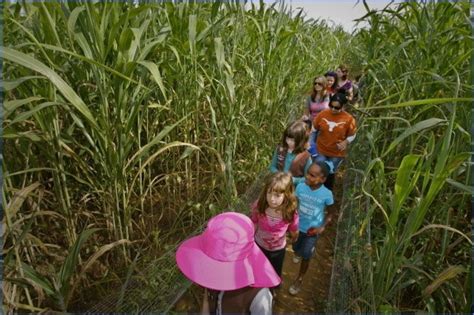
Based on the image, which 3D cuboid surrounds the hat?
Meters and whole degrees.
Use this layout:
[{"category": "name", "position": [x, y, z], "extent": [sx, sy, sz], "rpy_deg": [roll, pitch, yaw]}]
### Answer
[{"category": "hat", "position": [-0.069, 0.739, 2.577], "extent": [0.595, 0.316, 0.599], "rpy_deg": [-9, 19, -34]}]

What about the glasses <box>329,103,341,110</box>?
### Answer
[{"category": "glasses", "position": [1.235, -0.633, 4.394], "extent": [0.082, 0.069, 0.165], "rpy_deg": [2, 9, -40]}]
